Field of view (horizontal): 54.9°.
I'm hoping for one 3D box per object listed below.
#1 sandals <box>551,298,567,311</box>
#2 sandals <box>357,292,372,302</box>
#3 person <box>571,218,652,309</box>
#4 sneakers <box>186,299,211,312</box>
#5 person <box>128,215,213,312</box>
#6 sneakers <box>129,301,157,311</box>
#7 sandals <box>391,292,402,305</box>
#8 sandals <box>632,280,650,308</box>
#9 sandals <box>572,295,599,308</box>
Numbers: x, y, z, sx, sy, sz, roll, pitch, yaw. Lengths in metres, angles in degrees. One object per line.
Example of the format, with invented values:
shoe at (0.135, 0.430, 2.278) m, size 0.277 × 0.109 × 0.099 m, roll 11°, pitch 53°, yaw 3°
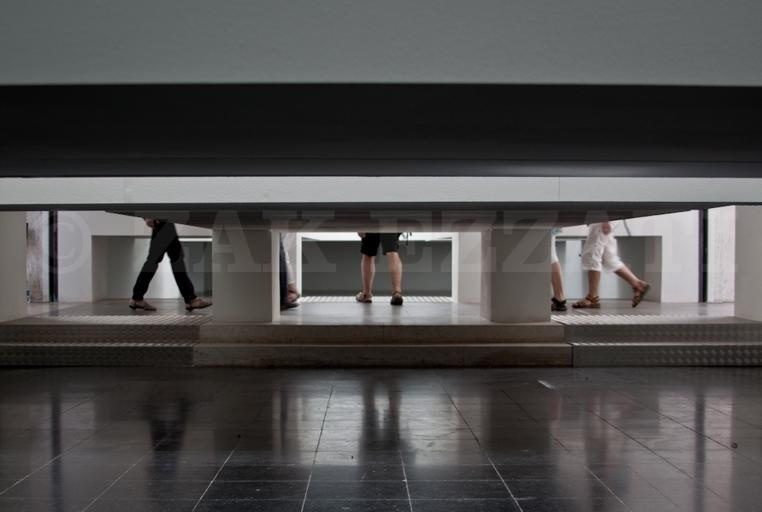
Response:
sandals at (1.924, 0.525, 7.946) m, size 0.100 × 0.089 × 0.265 m, roll -1°, pitch -3°, yaw 1°
sandals at (-0.205, 0.519, 9.381) m, size 0.091 × 0.090 × 0.230 m, roll -1°, pitch 5°, yaw -30°
person at (2.542, 0.091, 8.219) m, size 0.748 × 0.978 × 0.503 m, roll 2°, pitch 8°, yaw 14°
sneakers at (-1.967, 0.520, 7.915) m, size 0.088 × 0.102 × 0.270 m, roll 2°, pitch 12°, yaw 36°
person at (-2.258, 0.101, 7.813) m, size 0.799 × 0.980 × 0.403 m, roll -3°, pitch 9°, yaw -17°
sneakers at (-2.585, 0.530, 7.873) m, size 0.355 × 0.135 × 0.114 m, roll 0°, pitch 7°, yaw -11°
sandals at (0.192, 0.511, 8.936) m, size 0.129 × 0.145 × 0.361 m, roll 0°, pitch -7°, yaw -1°
sandals at (3.038, 0.442, 8.594) m, size 0.136 × 0.323 × 0.123 m, roll 13°, pitch 27°, yaw 0°
sandals at (2.337, 0.513, 8.354) m, size 0.367 × 0.139 × 0.137 m, roll 2°, pitch -3°, yaw 1°
